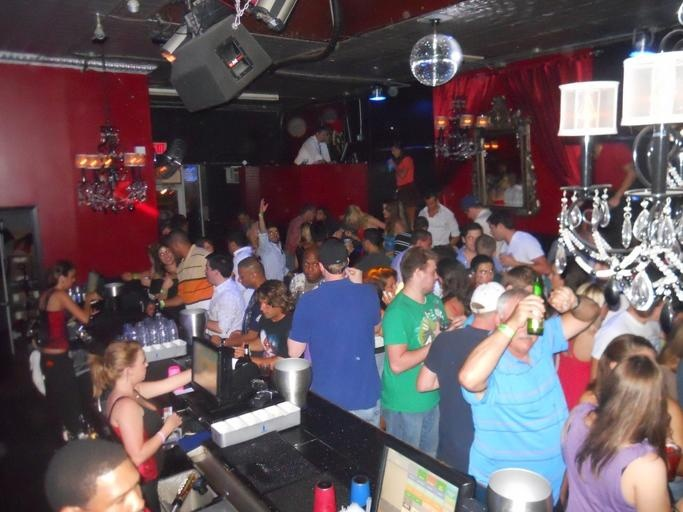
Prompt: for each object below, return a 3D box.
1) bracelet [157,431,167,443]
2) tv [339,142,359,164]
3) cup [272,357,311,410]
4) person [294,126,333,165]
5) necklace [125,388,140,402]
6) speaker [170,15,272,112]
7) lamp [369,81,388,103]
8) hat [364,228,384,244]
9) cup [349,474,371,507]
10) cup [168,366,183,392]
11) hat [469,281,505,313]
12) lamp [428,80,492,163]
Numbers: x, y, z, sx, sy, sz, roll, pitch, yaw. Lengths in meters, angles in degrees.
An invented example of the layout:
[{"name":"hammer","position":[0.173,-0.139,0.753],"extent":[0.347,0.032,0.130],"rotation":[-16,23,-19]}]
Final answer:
[{"name":"bracelet","position":[-1.069,1.062,3.433],"extent":[0.067,0.073,0.019],"rotation":[26,43,38]},{"name":"tv","position":[0.140,-1.721,9.630],"extent":[0.247,0.457,0.428],"rotation":[0,4,1]},{"name":"cup","position":[-0.287,0.740,3.433],"extent":[0.236,0.285,0.250],"rotation":[0,5,0]},{"name":"person","position":[-0.445,-1.742,9.117],"extent":[0.578,0.858,0.526],"rotation":[7,11,11]},{"name":"necklace","position":[-1.302,0.866,3.617],"extent":[0.053,0.100,0.077],"rotation":[-10,5,15]},{"name":"speaker","position":[-0.739,-1.152,3.443],"extent":[0.619,0.508,0.271],"rotation":[-1,11,25]},{"name":"lamp","position":[0.515,-2.323,8.224],"extent":[0.257,0.191,0.276],"rotation":[0,8,3]},{"name":"hat","position":[0.322,-0.225,5.666],"extent":[0.124,0.177,0.172],"rotation":[-3,-17,-4]},{"name":"cup","position":[0.089,1.076,2.671],"extent":[0.111,0.166,0.108],"rotation":[0,-8,0]},{"name":"cup","position":[-1.125,0.832,3.903],"extent":[0.095,0.161,0.098],"rotation":[-1,8,0]},{"name":"hat","position":[0.817,0.230,3.252],"extent":[0.136,0.116,0.191],"rotation":[-7,23,36]},{"name":"lamp","position":[1.581,-1.758,7.698],"extent":[0.754,0.902,0.839],"rotation":[0,1,-19]}]
